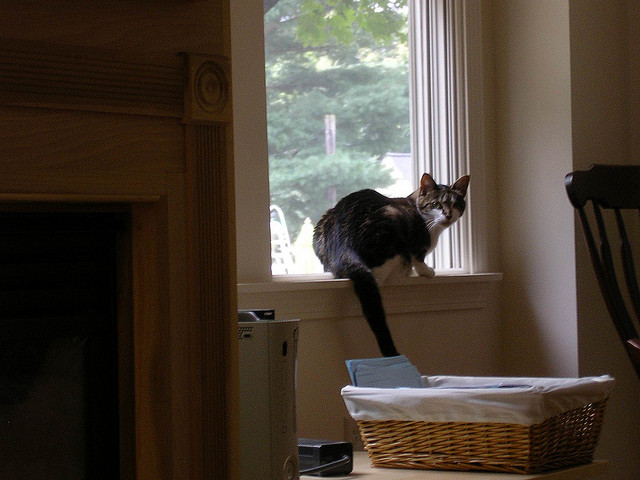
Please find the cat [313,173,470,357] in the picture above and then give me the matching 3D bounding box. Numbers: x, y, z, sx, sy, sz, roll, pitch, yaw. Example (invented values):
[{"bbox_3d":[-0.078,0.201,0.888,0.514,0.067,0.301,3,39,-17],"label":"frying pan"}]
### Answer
[{"bbox_3d":[0.254,0.053,2.094,0.487,0.544,0.409,-8,6,-38],"label":"cat"}]
